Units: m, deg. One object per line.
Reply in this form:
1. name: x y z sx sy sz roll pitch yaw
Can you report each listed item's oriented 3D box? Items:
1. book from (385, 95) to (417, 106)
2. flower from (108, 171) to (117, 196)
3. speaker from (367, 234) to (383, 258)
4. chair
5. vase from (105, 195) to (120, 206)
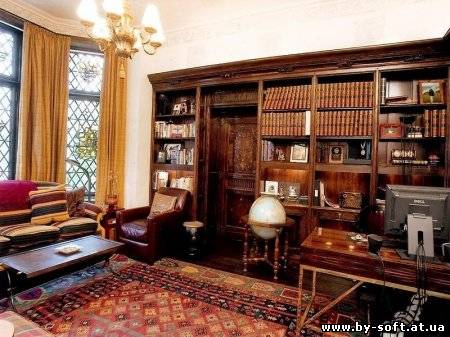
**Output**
1. book: 2.608 -1.020 4.684 0.408 0.141 0.345 9 16 26
2. flower: -2.217 0.292 6.186 0.138 0.490 0.235 1 14 -3
3. speaker: 1.586 0.804 3.372 0.139 0.191 0.206 9 16 26
4. chair: -1.316 0.903 5.469 0.918 1.264 1.195 1 -2 34
5. vase: -2.114 0.578 5.940 0.220 0.207 0.215 0 -1 37
